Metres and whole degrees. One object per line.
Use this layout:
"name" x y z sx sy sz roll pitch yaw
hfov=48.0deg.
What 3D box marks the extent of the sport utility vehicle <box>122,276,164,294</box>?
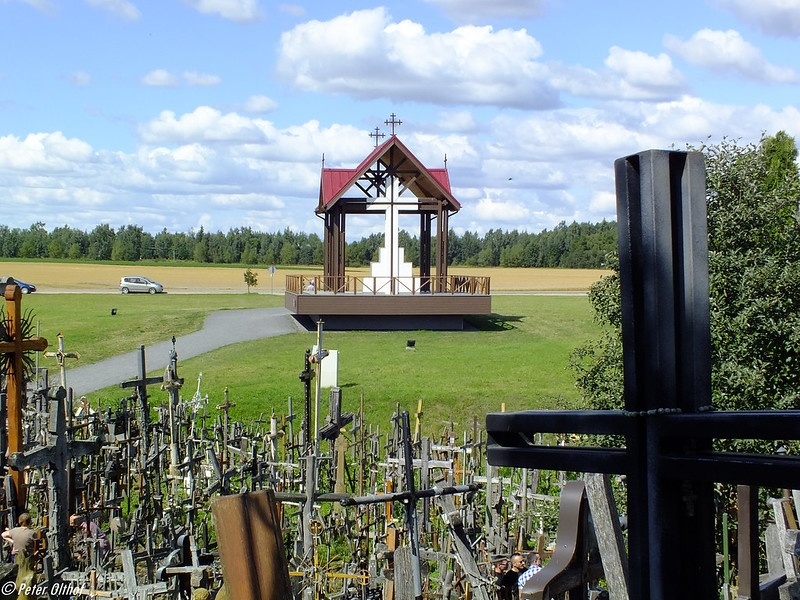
"sport utility vehicle" -16.803 -1.058 58.873 2.094 1.088 1.347 -2 3 -8
